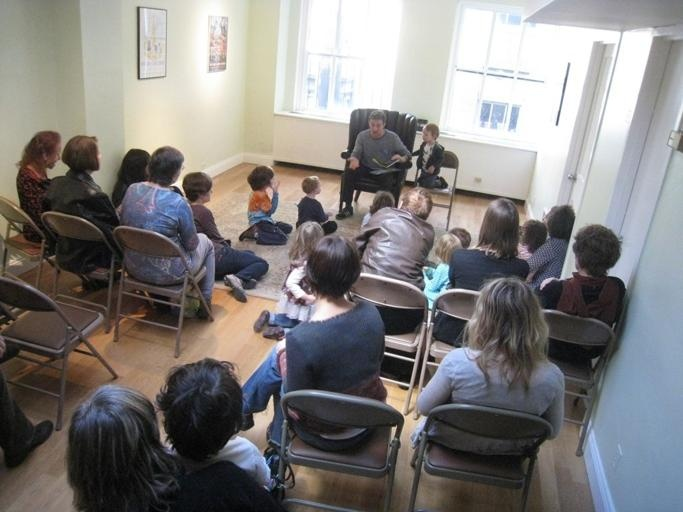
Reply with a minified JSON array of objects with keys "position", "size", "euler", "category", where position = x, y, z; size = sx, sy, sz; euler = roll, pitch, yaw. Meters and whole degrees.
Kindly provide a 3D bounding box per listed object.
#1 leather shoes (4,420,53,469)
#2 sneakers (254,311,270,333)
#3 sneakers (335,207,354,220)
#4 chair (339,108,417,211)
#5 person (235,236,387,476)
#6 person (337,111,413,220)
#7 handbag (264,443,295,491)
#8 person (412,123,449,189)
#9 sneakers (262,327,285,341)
[{"position":[-1.719,1.043,2.873],"size":[0.098,0.134,0.304],"euler":[18,30,2],"category":"leather shoes"},{"position":[-0.617,0.522,4.068],"size":[0.074,0.186,0.097],"euler":[33,-4,-36],"category":"sneakers"},{"position":[0.046,-0.556,6.493],"size":[0.102,0.117,0.257],"euler":[24,32,30],"category":"sneakers"},{"position":[0.428,-1.159,6.585],"size":[0.837,1.379,0.927],"euler":[10,18,9],"category":"chair"},{"position":[-0.156,0.547,2.423],"size":[0.665,1.333,0.429],"euler":[17,24,29],"category":"person"},{"position":[0.454,-1.121,6.528],"size":[0.749,1.321,0.724],"euler":[9,16,9],"category":"person"},{"position":[-0.331,1.110,2.708],"size":[0.104,0.349,0.137],"euler":[-2,10,-3],"category":"handbag"},{"position":[1.152,-1.247,6.471],"size":[0.475,0.793,0.589],"euler":[7,22,7],"category":"person"},{"position":[-0.515,0.598,3.993],"size":[0.196,0.078,0.132],"euler":[4,66,-2],"category":"sneakers"}]
